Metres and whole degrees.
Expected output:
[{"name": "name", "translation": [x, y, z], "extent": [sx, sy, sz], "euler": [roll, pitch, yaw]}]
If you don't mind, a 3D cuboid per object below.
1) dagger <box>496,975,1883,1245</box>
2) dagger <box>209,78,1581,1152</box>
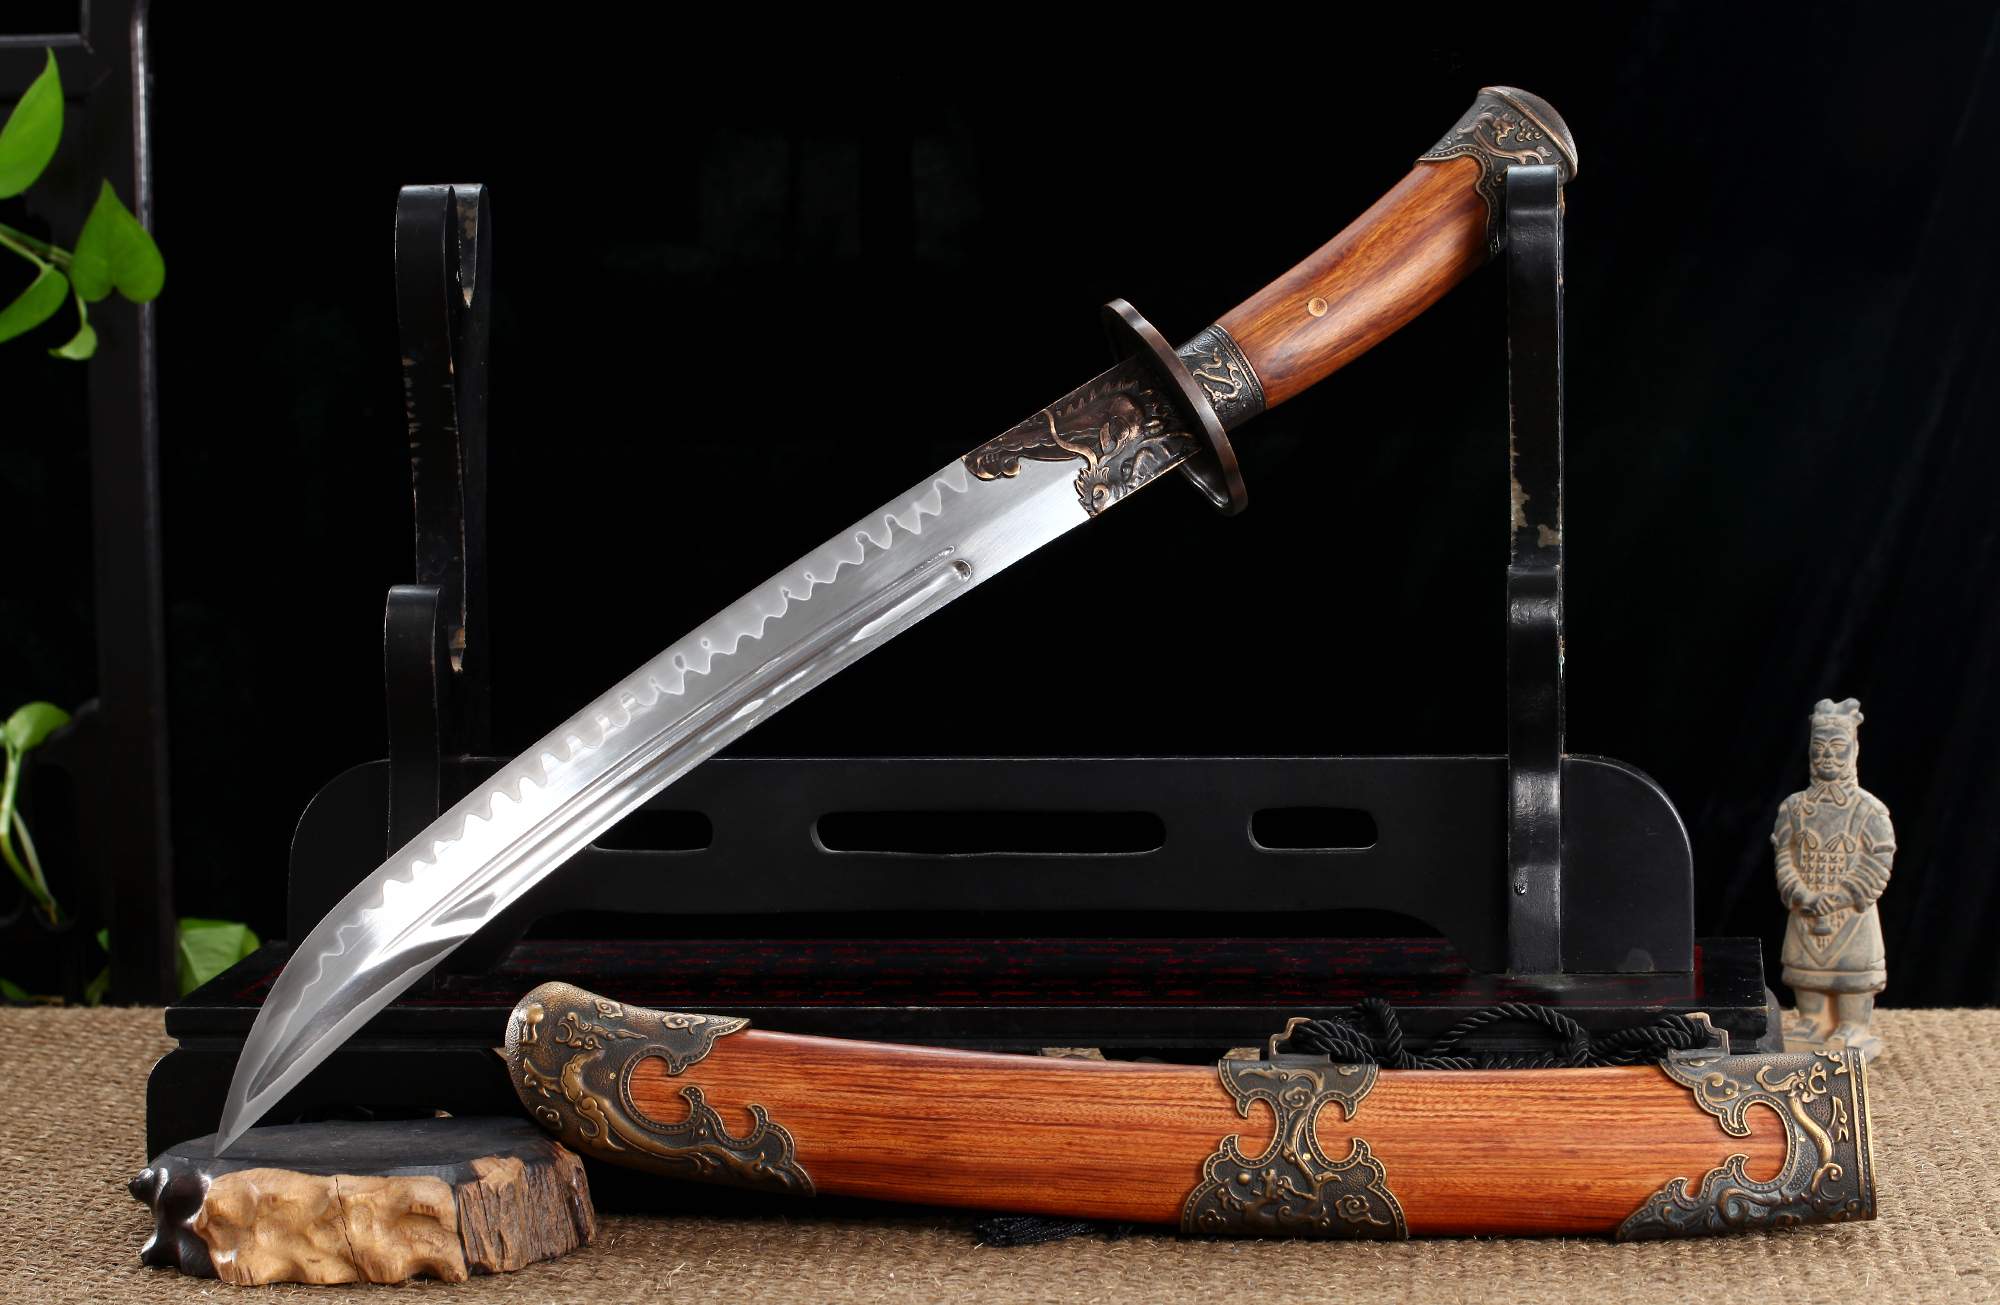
[{"name": "dagger", "translation": [0.162, 0.432, 2.409], "extent": [1.023, 0.134, 0.207], "euler": [1, -7, 2]}, {"name": "dagger", "translation": [-0.059, -0.068, 2.804], "extent": [1.969, 0.330, 0.212], "euler": [-29, -10, -1]}]
